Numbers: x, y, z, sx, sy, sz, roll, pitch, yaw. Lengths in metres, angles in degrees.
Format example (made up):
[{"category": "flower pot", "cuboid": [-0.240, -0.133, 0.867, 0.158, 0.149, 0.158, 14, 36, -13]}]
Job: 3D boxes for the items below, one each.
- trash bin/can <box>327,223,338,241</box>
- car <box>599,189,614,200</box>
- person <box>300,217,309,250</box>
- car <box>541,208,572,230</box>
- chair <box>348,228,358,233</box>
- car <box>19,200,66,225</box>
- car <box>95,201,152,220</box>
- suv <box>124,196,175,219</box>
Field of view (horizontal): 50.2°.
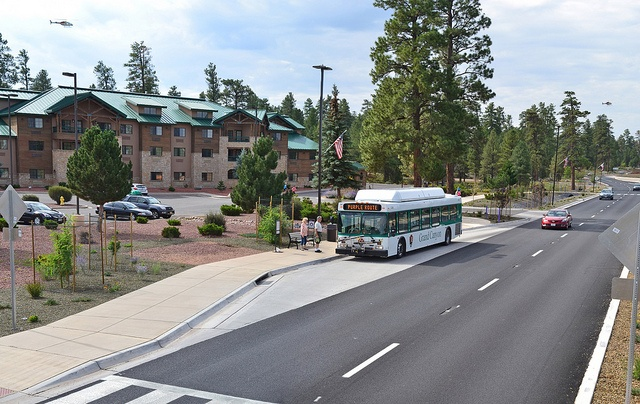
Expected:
[{"category": "trash bin/can", "cuboid": [0.882, 2.086, 47.315, 0.896, 1.485, 0.948, 0, -1, 8]}, {"category": "car", "cuboid": [39.939, -1.126, 94.969, 1.043, 0.922, 2.413, -3, -4, 32]}, {"category": "person", "cuboid": [-0.999, 2.043, 44.338, 0.394, 2.111, 1.564, 0, 1, -4]}, {"category": "car", "cuboid": [20.021, 1.398, 57.642, 1.956, 1.639, 2.575, 0, 0, 41]}, {"category": "chair", "cuboid": [2.127, 1.773, 42.823, 0.294, 0.217, 0.465, 1, 2, 24]}, {"category": "car", "cuboid": [-20.231, 0.797, 49.751, 3.702, 1.387, 1.973, -1, -1, 30]}, {"category": "car", "cuboid": [-15.603, 0.646, 54.214, 3.111, 1.085, 1.441, -2, -1, 23]}, {"category": "suv", "cuboid": [-14.566, 0.299, 58.535, 4.222, 1.712, 1.881, 4, 3, 29]}]
